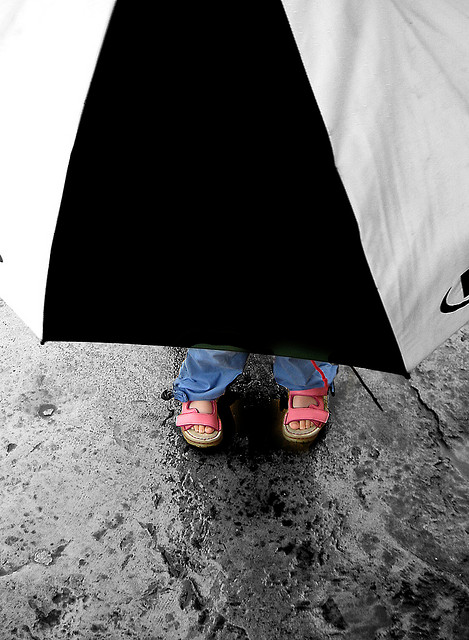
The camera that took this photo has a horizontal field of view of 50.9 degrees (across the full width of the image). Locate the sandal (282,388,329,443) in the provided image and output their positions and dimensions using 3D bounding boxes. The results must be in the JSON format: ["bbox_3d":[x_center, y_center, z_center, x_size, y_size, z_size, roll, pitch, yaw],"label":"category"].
[{"bbox_3d":[0.234,0.311,1.628,0.147,0.134,0.154,2,52,6],"label":"sandal"}]

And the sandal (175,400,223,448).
[{"bbox_3d":[-0.121,0.316,1.668,0.139,0.102,0.275,-2,20,-5],"label":"sandal"}]
